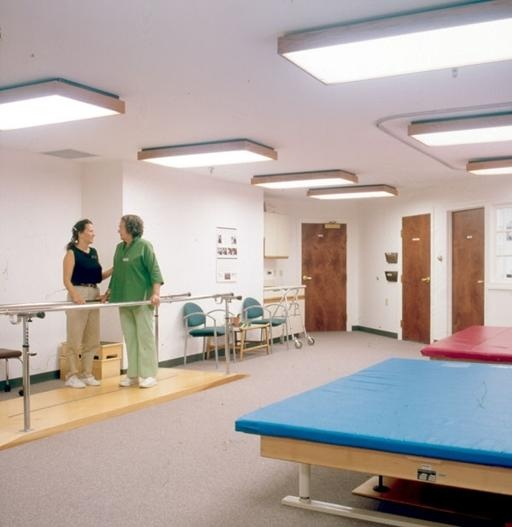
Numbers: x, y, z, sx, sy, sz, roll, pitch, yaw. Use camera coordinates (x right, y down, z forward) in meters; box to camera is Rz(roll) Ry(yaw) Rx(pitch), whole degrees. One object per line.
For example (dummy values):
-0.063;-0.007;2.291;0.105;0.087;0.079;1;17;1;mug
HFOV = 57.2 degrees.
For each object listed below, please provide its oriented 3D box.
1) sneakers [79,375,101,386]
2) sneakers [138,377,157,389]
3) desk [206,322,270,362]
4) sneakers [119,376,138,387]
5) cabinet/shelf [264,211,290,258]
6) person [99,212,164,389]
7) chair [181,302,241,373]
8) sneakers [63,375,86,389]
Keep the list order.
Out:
-1.746;1.237;4.963;0.234;0.093;0.081;2;-2;7;sneakers
-1.118;1.253;4.929;0.102;0.067;0.179;-2;-8;22;sneakers
-0.050;1.261;7.893;0.606;0.459;0.813;-2;-3;23;desk
-1.345;1.261;5.003;0.227;0.095;0.084;5;-7;-28;sneakers
0.387;-0.548;9.024;0.278;0.796;0.884;-2;-5;27;cabinet/shelf
-1.234;0.396;4.816;0.520;1.444;0.531;0;0;-18;person
-0.522;1.026;6.819;0.845;1.191;0.887;-2;-3;21;chair
-1.875;1.228;4.876;0.200;0.085;0.103;3;1;22;sneakers
